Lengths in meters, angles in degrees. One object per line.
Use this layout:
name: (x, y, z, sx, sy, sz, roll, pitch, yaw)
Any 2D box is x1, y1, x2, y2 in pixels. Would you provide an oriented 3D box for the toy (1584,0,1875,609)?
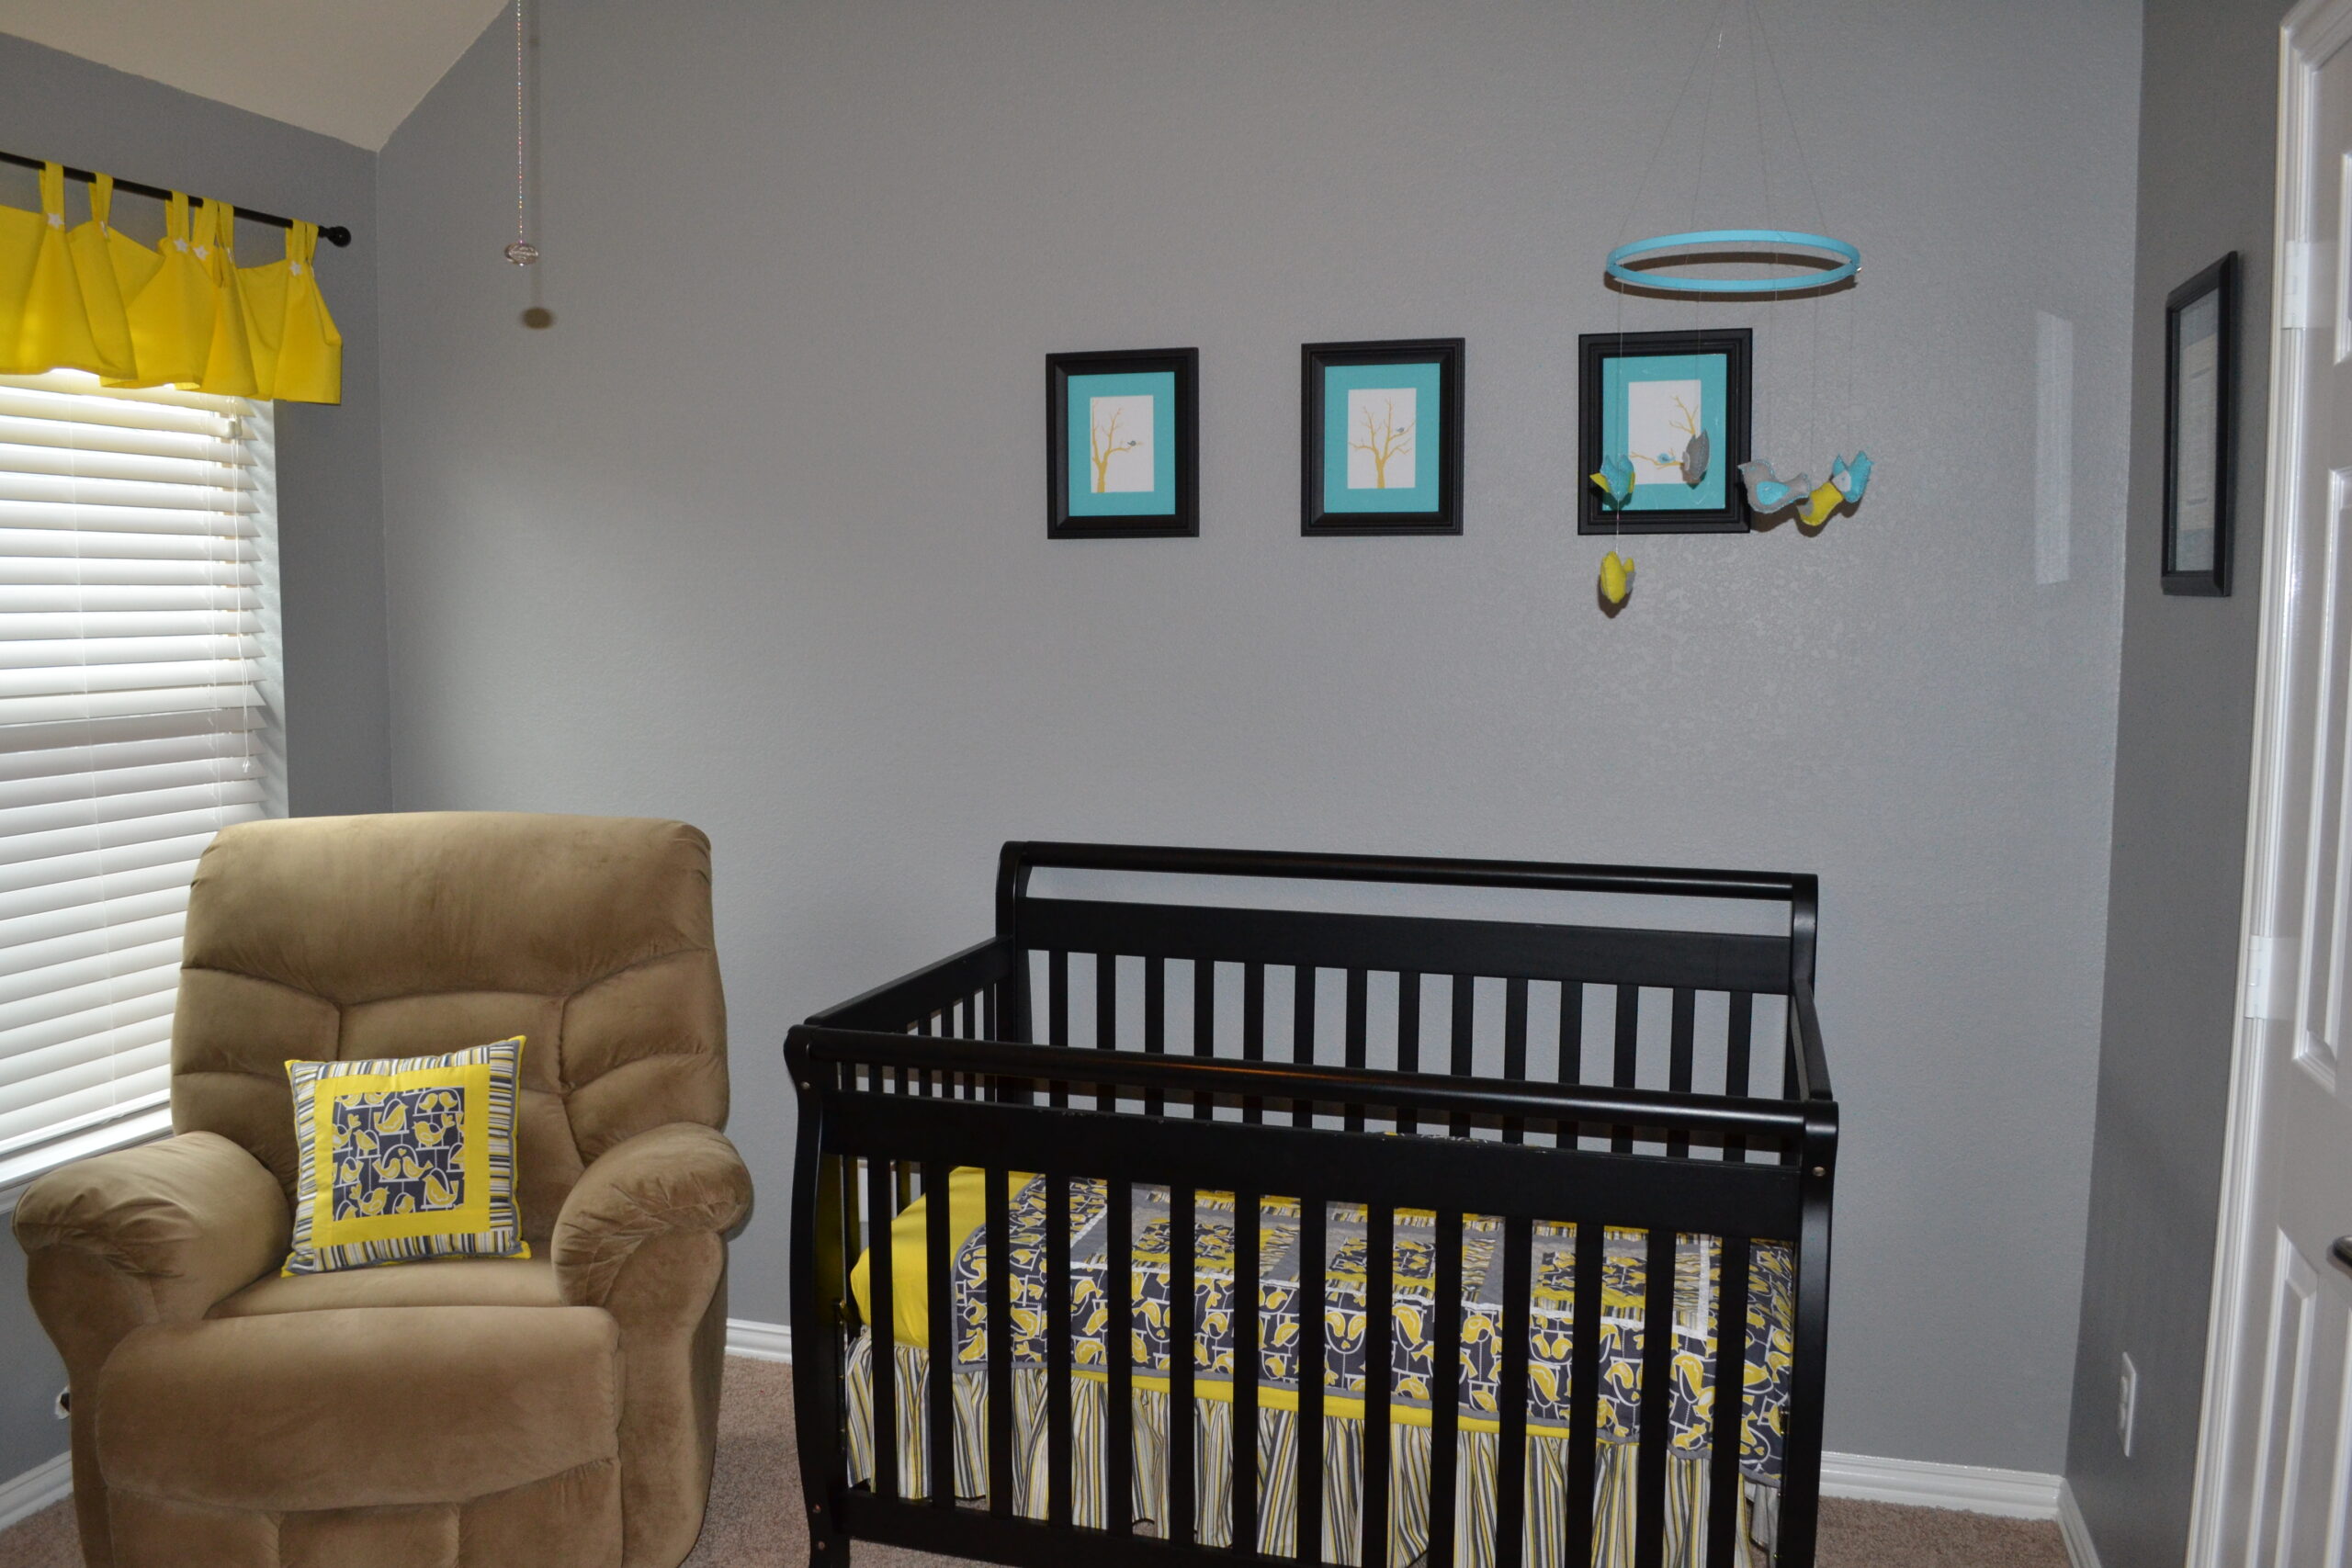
toy: (1.113, -0.745, 4.031, 0.593, 0.780, 0.404, 4, 2, 20)

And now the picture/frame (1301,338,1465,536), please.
picture/frame: (0.465, -0.772, 4.288, 0.410, 0.491, 0.032, 0, 2, 8)

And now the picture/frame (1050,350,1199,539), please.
picture/frame: (-0.102, -0.778, 4.404, 0.399, 0.478, 0.033, 0, 2, 10)

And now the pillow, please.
pillow: (-1.580, 0.780, 4.016, 0.409, 0.415, 0.139, -3, -15, -8)

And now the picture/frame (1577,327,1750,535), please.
picture/frame: (1.046, -0.765, 4.167, 0.420, 0.522, 0.039, 0, 2, 13)
